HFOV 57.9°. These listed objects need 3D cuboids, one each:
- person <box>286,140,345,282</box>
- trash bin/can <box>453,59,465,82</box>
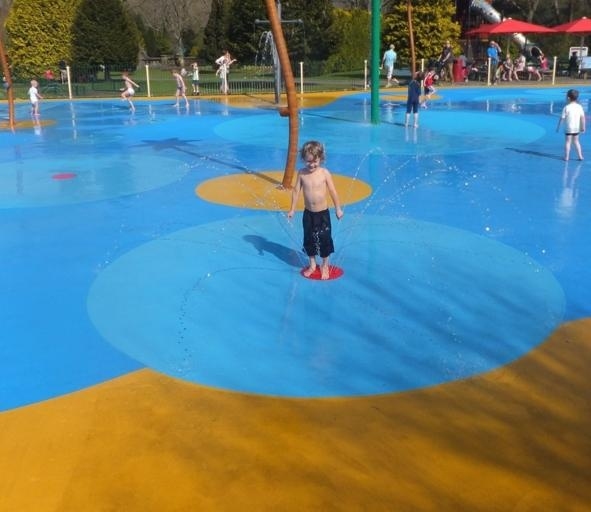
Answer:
[{"bbox_3d":[0.258,-0.551,6.380,0.595,1.633,0.446,14,22,40],"label":"person"},{"bbox_3d":[10.979,-12.550,35.900,0.639,1.517,0.800,11,21,32],"label":"trash bin/can"}]
